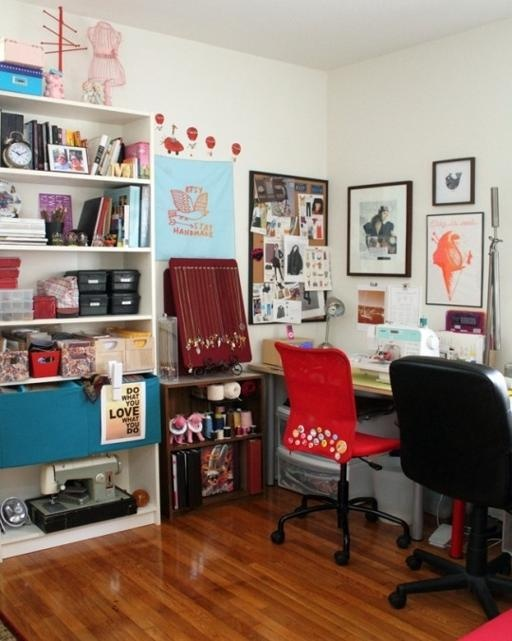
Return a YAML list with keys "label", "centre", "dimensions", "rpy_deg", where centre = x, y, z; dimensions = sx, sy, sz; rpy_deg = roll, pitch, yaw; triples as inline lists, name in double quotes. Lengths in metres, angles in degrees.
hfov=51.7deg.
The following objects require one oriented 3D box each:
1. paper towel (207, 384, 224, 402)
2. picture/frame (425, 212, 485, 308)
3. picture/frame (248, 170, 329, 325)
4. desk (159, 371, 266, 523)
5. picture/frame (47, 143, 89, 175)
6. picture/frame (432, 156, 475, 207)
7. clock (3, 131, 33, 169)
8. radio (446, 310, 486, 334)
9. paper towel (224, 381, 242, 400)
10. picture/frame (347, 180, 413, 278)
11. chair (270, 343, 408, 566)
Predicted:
- label: "paper towel"
  centre: [-0.237, 0.425, 3.132]
  dimensions: [0.100, 0.090, 0.096]
  rpy_deg: [0, 5, 4]
- label: "picture/frame"
  centre: [1.147, -0.350, 3.075]
  dimensions: [0.069, 0.565, 0.374]
  rpy_deg: [1, -2, -29]
- label: "picture/frame"
  centre: [0.222, -0.494, 3.691]
  dimensions: [0.704, 1.034, 0.093]
  rpy_deg: [1, -2, -37]
- label: "desk"
  centre: [-0.273, 0.758, 3.085]
  dimensions: [0.780, 0.919, 0.273]
  rpy_deg: [-4, 5, -39]
- label: "picture/frame"
  centre: [-0.899, -0.763, 2.510]
  dimensions: [0.202, 0.140, 0.020]
  rpy_deg: [5, -8, -40]
- label: "picture/frame"
  centre: [1.143, -0.799, 3.048]
  dimensions: [0.024, 0.354, 0.312]
  rpy_deg: [-3, 6, -41]
- label: "clock"
  centre: [-1.060, -0.758, 2.376]
  dimensions: [0.038, 0.169, 0.142]
  rpy_deg: [-2, -2, 41]
- label: "radio"
  centre: [1.166, 0.009, 2.963]
  dimensions: [0.043, 0.109, 0.175]
  rpy_deg: [-5, 6, -31]
- label: "paper towel"
  centre: [-0.141, 0.424, 3.194]
  dimensions: [0.105, 0.097, 0.096]
  rpy_deg: [-13, 6, -44]
- label: "picture/frame"
  centre: [0.829, -0.605, 3.490]
  dimensions: [0.030, 0.799, 0.667]
  rpy_deg: [-5, 6, -35]
- label: "chair"
  centre: [0.381, 0.595, 2.586]
  dimensions: [0.620, 0.924, 0.576]
  rpy_deg: [-1, -1, -30]
